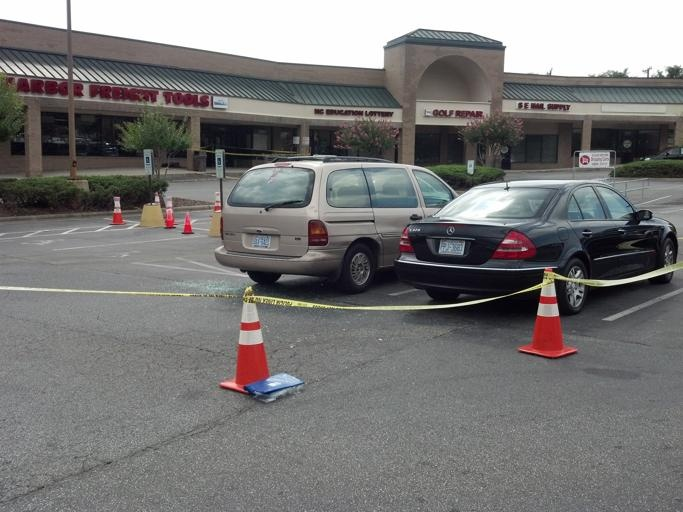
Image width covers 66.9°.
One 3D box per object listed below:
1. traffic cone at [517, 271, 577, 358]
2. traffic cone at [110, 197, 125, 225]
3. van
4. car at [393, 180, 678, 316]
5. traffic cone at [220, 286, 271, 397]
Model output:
[{"bbox_3d":[2.401,0.630,5.984,0.556,0.954,0.572,8,11,42],"label":"traffic cone"},{"bbox_3d":[-8.873,-1.808,20.472,0.412,1.027,1.207,-4,9,-23],"label":"traffic cone"},{"bbox_3d":[0.130,-0.871,9.716,2.105,1.559,3.939,6,13,40],"label":"van"},{"bbox_3d":[3.498,-0.386,8.543,4.569,1.481,1.999,-7,9,-39],"label":"car"},{"bbox_3d":[-0.926,0.768,4.878,0.451,0.989,0.319,0,8,-2],"label":"traffic cone"}]
